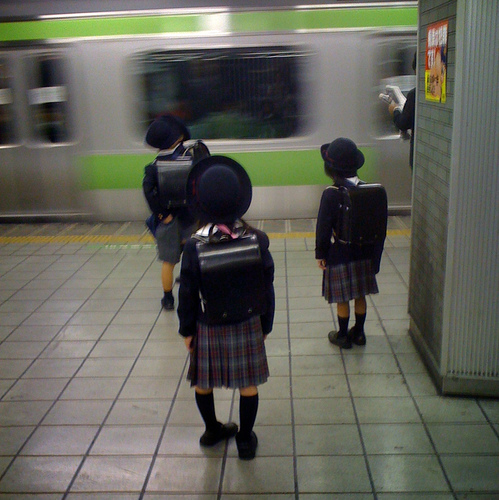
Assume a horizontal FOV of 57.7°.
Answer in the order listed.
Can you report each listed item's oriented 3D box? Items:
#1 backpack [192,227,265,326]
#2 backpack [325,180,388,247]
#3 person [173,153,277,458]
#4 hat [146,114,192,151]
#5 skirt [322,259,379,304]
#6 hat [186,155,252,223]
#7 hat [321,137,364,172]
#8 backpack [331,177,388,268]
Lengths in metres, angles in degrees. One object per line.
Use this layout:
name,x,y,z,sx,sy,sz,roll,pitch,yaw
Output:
backpack,-0.112,0.131,2.253,0.324,0.494,0.273,-10,-8,-9
backpack,0.854,-0.305,3.461,0.389,0.509,0.280,-13,22,-11
person,-0.127,0.394,2.473,0.461,1.672,0.425,1,20,4
hat,-0.794,-1.152,4.446,0.462,0.314,0.245,-15,25,-21
skirt,0.814,0.149,3.638,0.430,0.468,0.282,-9,20,10
hat,-0.158,-0.307,2.275,0.332,0.315,0.227,-6,22,-3
hat,0.698,-0.772,3.467,0.314,0.165,0.392,13,-7,18
backpack,0.830,-0.207,3.461,0.406,0.655,0.261,-10,22,-14
